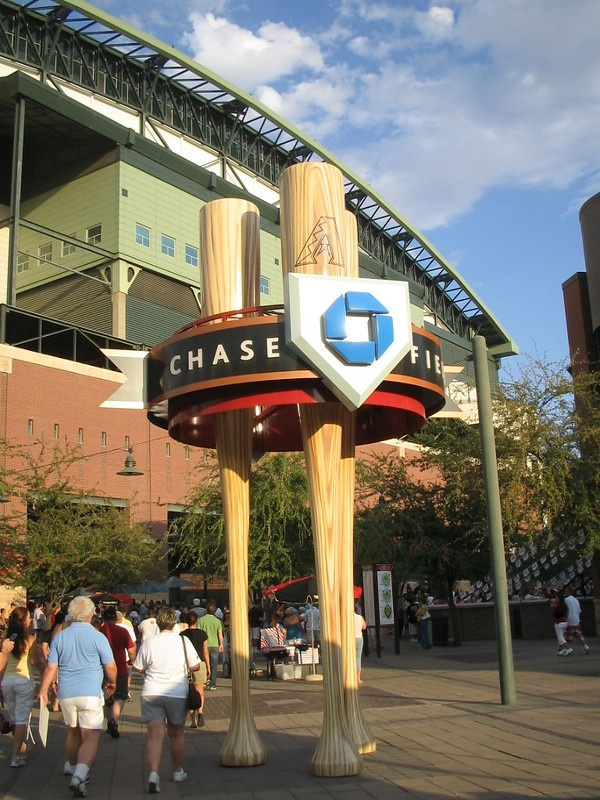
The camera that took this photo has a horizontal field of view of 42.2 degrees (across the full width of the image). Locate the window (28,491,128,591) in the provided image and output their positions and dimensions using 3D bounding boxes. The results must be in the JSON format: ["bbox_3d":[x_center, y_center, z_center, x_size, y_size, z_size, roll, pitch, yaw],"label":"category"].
[{"bbox_3d":[-8.304,5.432,29.032,3.315,3.850,4.266,-7,-8,35],"label":"window"}]

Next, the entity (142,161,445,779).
[{"bbox_3d":[-0.161,0.655,8.198,2.802,5.795,2.908,-2,-11,-10],"label":"entity"}]
